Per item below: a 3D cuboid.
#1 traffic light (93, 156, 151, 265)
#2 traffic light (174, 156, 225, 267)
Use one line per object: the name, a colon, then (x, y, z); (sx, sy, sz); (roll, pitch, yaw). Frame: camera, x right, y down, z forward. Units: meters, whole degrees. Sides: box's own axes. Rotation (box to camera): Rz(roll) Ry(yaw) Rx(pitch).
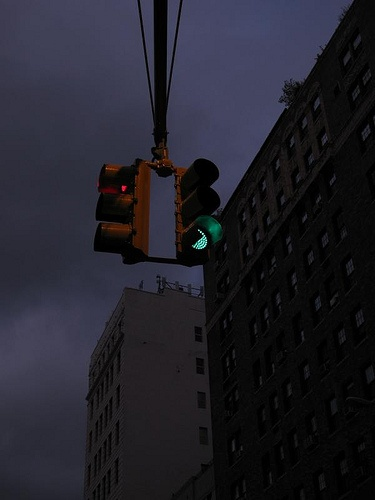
traffic light: (-0.970, -0.595, 12.540); (0.638, 1.962, 0.521); (0, -37, -3)
traffic light: (0.131, -0.753, 12.764); (0.786, 1.983, 0.698); (-11, -33, 18)
